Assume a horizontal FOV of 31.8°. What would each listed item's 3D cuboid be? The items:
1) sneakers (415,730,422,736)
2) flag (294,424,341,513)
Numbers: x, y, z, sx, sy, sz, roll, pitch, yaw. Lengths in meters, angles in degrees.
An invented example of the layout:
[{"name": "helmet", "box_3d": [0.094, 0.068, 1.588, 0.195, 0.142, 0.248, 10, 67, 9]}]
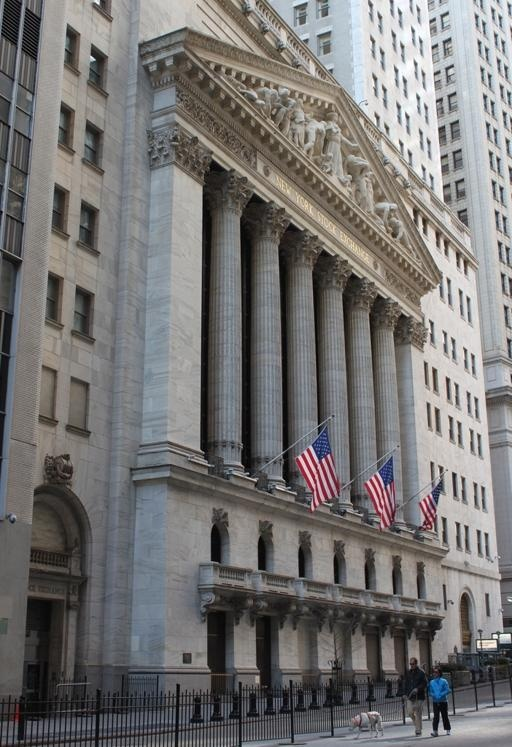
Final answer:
[{"name": "sneakers", "box_3d": [4.104, 9.073, 22.693, 0.115, 0.163, 0.407, -2, -37, 8]}, {"name": "flag", "box_3d": [2.397, 3.436, 35.239, 1.014, 3.542, 2.259, -11, -24, 21]}]
